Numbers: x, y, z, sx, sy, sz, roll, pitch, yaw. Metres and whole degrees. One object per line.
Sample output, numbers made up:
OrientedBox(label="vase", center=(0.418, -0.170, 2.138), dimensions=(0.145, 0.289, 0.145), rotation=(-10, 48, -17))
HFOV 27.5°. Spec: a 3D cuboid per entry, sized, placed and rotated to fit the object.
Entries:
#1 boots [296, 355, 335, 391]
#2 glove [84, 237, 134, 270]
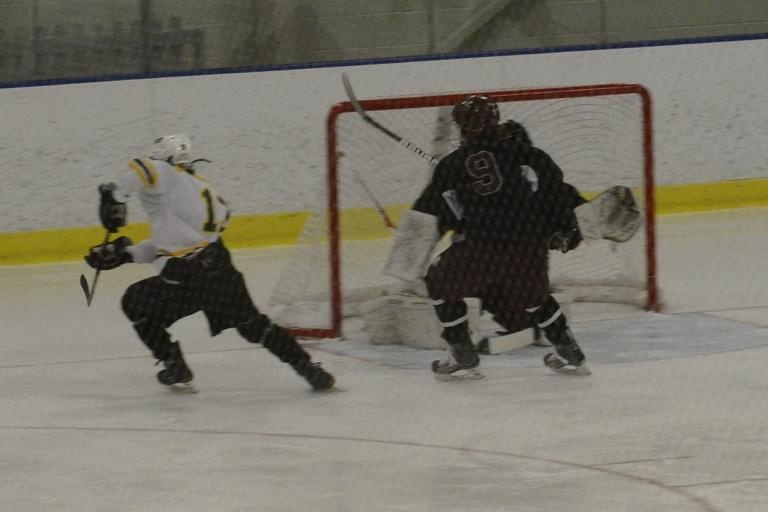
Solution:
OrientedBox(label="boots", center=(-0.362, 0.609, 8.271), dimensions=(0.053, 0.253, 0.136), rotation=(-63, 11, 6))
OrientedBox(label="glove", center=(-1.458, -0.018, 8.398), dimensions=(0.297, 0.079, 0.167), rotation=(-13, 4, 8))
